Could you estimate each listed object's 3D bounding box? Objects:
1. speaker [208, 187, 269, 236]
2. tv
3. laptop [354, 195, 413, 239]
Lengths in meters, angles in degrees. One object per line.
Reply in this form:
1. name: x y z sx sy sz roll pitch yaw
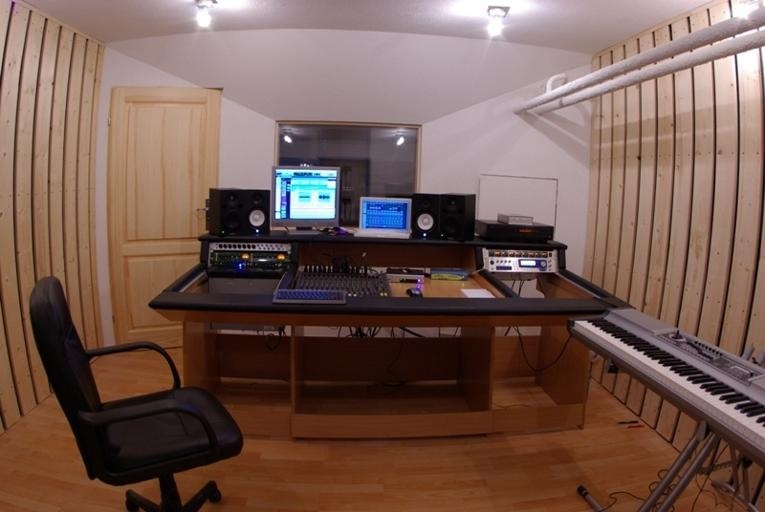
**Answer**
1. speaker: -1.156 -0.358 4.420 0.405 0.343 0.418 -1 5 -34
2. tv: -0.636 -0.488 4.556 0.606 0.549 0.210 0 1 -7
3. laptop: 0.031 -0.331 4.553 0.571 0.376 0.309 1 6 3
